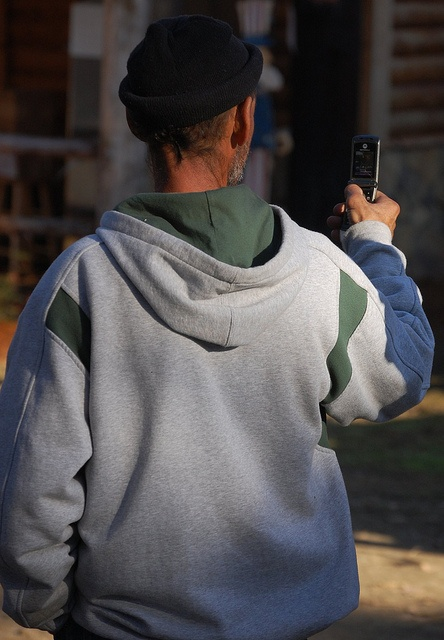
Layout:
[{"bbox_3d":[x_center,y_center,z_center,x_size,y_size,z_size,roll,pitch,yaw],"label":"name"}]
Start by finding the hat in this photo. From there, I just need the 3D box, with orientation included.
[{"bbox_3d":[-0.062,-0.511,2.024,0.274,0.165,0.342,-24,29,-12],"label":"hat"}]
